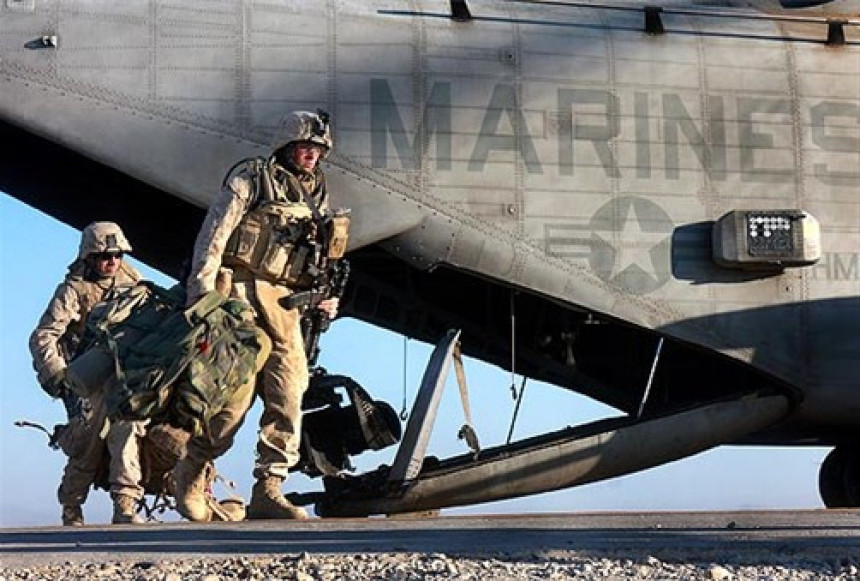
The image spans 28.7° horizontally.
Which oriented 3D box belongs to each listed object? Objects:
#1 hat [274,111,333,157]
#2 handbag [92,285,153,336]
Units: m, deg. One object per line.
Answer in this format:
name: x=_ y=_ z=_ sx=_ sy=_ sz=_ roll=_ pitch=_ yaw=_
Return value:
hat: x=-1.252 y=-1.579 z=17.124 sx=0.647 sy=0.427 sz=0.679 roll=8 pitch=0 yaw=-19
handbag: x=-3.050 y=0.189 z=16.925 sx=0.428 sy=0.568 sz=0.211 roll=42 pitch=-22 yaw=40
